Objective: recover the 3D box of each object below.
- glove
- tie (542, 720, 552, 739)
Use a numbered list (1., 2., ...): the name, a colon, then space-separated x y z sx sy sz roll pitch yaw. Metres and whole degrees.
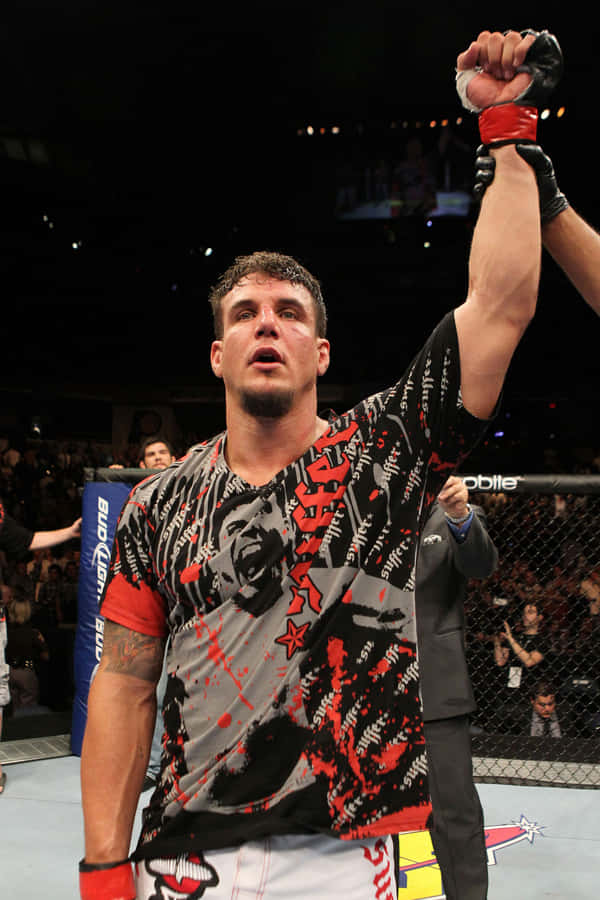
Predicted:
1. glove: 0.372 -0.477 1.404 0.131 0.158 0.058 -8 -31 -22
2. tie: 1.570 1.783 5.164 0.097 0.084 0.058 33 -43 -29
